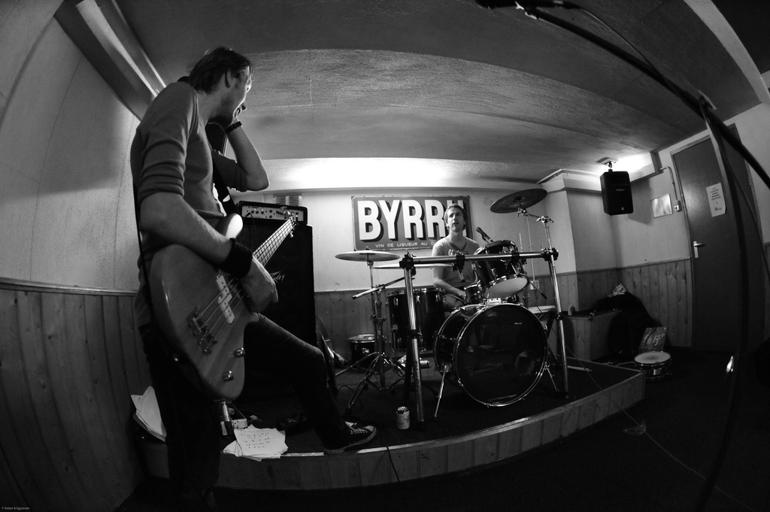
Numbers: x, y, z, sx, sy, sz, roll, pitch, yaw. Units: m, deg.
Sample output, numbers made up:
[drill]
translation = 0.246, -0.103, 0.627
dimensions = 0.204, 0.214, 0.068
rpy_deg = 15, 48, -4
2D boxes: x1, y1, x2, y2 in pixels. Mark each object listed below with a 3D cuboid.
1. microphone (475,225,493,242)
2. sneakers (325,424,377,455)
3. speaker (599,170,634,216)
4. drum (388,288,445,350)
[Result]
[microphone]
translation = 0.289, -0.061, 1.414
dimensions = 0.043, 0.042, 0.077
rpy_deg = -3, -3, 9
[sneakers]
translation = -0.084, 0.425, 1.123
dimensions = 0.050, 0.060, 0.138
rpy_deg = 3, 1, 35
[speaker]
translation = 0.392, -0.107, 0.823
dimensions = 0.048, 0.079, 0.020
rpy_deg = -4, -4, 26
[drum]
translation = 0.150, 0.395, 3.124
dimensions = 0.403, 0.383, 0.400
rpy_deg = 0, -16, -4
